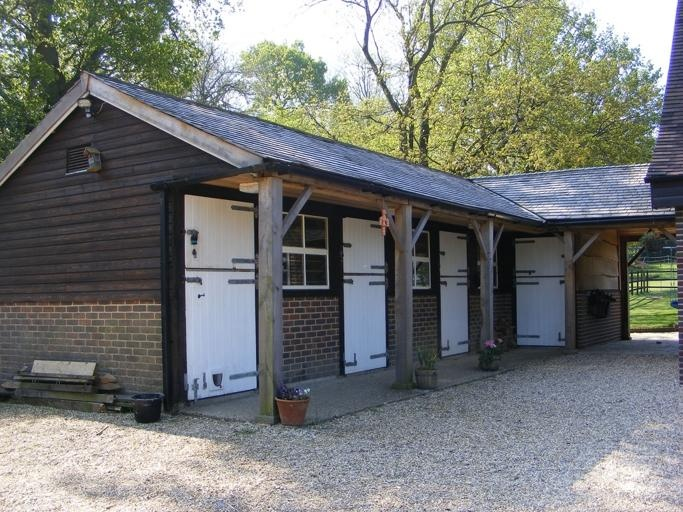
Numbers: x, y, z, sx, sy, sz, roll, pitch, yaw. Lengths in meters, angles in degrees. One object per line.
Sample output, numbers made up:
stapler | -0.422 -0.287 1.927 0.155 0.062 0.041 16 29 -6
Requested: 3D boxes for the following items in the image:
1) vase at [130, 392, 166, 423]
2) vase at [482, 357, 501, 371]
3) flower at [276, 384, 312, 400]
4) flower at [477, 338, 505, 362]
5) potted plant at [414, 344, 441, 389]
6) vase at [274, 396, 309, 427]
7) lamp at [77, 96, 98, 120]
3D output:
vase | -2.599 2.067 8.124 0.340 0.274 0.374 -2 -10 5
vase | 2.868 2.099 11.572 0.253 0.142 0.249 -2 -3 6
flower | -0.648 1.820 7.958 0.430 0.216 0.466 8 -12 -43
flower | 3.000 1.926 12.156 0.508 0.437 0.559 -13 -2 22
potted plant | 1.392 1.856 9.823 0.367 0.613 0.439 0 0 19
vase | -0.625 1.941 7.593 0.345 0.252 0.353 -3 -6 42
lamp | -4.047 -2.363 9.471 0.297 0.234 0.179 0 0 34
